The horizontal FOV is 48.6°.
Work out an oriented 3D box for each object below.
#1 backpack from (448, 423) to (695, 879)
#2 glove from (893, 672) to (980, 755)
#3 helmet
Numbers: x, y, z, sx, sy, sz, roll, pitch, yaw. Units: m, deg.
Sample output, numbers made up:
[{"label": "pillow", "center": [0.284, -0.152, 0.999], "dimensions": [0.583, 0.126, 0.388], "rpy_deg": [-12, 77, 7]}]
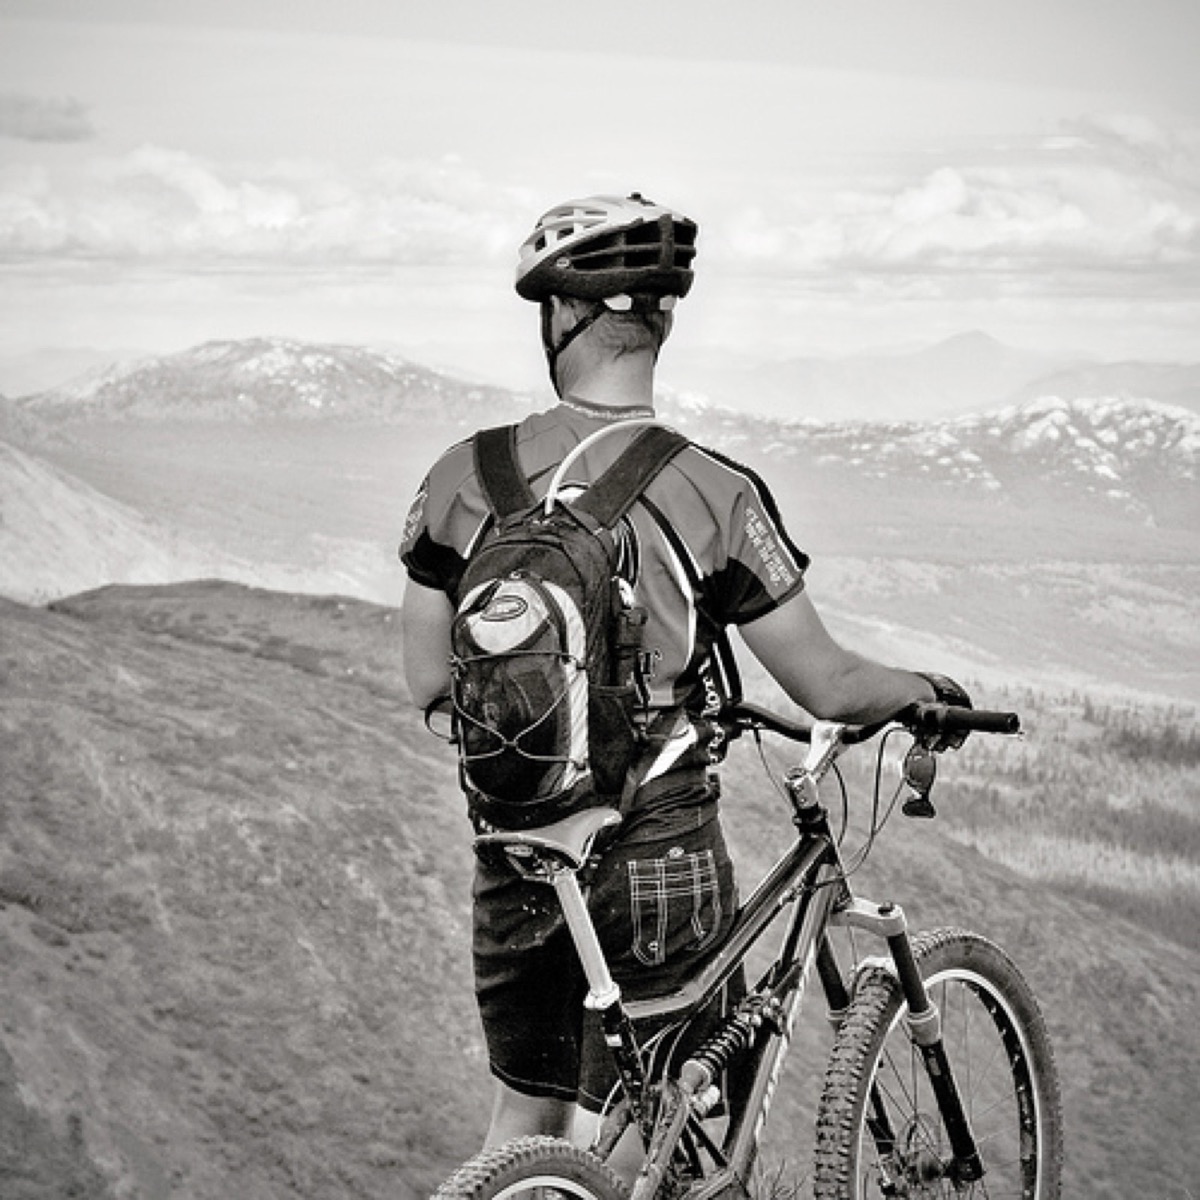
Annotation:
[{"label": "backpack", "center": [-0.077, 0.015, 1.852], "dimensions": [0.260, 0.540, 0.302], "rpy_deg": [10, 18, 37]}, {"label": "glove", "center": [0.561, 0.181, 2.216], "dimensions": [0.054, 0.113, 0.142], "rpy_deg": [-30, 12, -16]}, {"label": "helmet", "center": [-0.012, -0.536, 2.070], "dimensions": [0.230, 0.198, 0.325], "rpy_deg": [-5, 8, -40]}]
